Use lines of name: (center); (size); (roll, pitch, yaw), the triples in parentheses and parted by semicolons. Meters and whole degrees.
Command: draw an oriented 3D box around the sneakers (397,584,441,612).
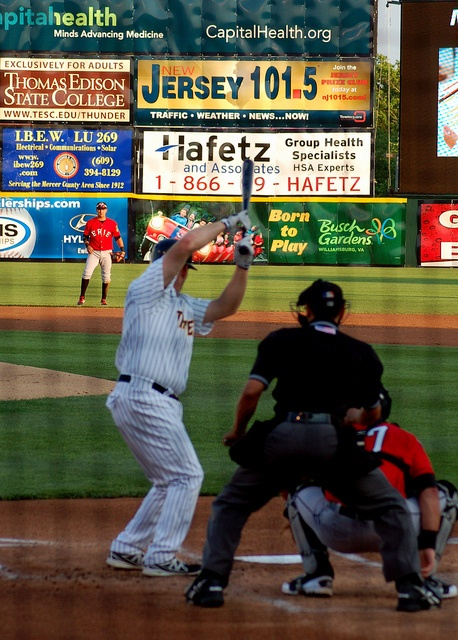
sneakers: (0.785, 1.143, 4.303); (0.235, 0.093, 0.090); (0, 1, -45)

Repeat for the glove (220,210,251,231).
glove: (0.033, -0.440, 4.584); (0.125, 0.045, 0.085); (-3, -38, 0)

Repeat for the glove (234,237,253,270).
glove: (0.067, -0.299, 4.607); (0.052, 0.127, 0.101); (1, -12, -4)

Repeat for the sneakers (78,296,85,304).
sneakers: (-2.346, -0.315, 16.382); (0.077, 0.136, 0.207); (3, 12, -6)

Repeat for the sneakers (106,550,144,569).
sneakers: (-0.478, 1.117, 4.814); (0.202, 0.081, 0.067); (3, 6, -4)

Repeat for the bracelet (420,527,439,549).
bracelet: (0.830, 0.922, 4.366); (0.083, 0.077, 0.078); (1, 2, -12)

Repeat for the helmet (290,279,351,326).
helmet: (0.409, -0.073, 4.401); (0.174, 0.196, 0.215); (2, 8, 6)

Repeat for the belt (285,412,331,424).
belt: (0.322, 0.395, 4.177); (0.100, 0.028, 0.072); (3, 2, -8)

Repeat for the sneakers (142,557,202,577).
sneakers: (-0.257, 1.126, 4.658); (0.300, 0.096, 0.102); (-2, 2, -5)
